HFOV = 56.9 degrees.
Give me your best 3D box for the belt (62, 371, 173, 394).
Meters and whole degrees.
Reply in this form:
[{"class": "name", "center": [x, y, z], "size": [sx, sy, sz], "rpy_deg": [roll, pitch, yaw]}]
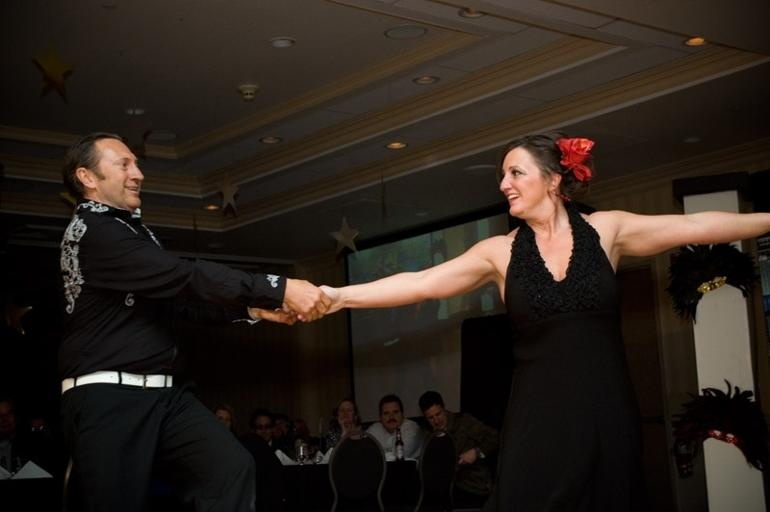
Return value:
[{"class": "belt", "center": [-1.324, 0.617, 3.495], "size": [0.507, 0.088, 0.215], "rpy_deg": [3, -16, -20]}]
